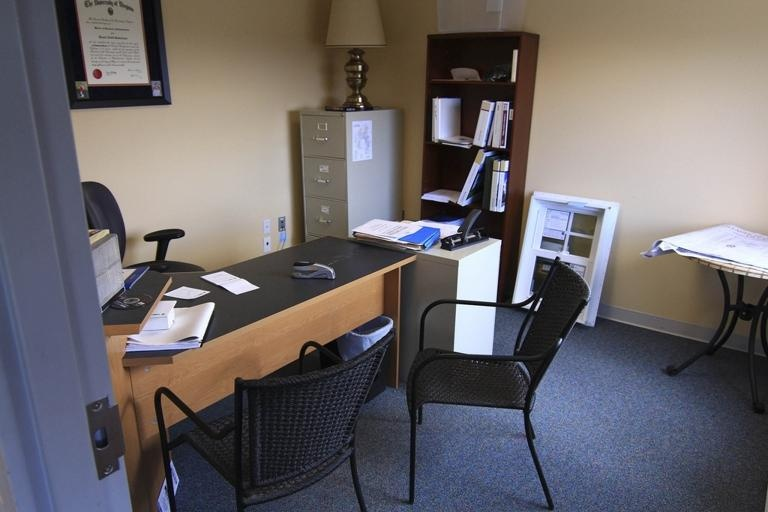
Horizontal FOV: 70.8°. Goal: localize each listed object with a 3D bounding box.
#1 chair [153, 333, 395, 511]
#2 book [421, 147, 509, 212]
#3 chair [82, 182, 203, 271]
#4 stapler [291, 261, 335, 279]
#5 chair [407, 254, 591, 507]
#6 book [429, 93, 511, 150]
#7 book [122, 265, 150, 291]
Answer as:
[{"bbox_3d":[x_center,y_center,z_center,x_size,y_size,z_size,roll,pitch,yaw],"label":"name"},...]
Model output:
[{"bbox_3d":[-0.466,0.695,2.193,0.536,0.714,0.537,-16,32,-34],"label":"chair"},{"bbox_3d":[0.643,-0.627,4.255,0.393,0.454,0.688,-14,23,-33],"label":"book"},{"bbox_3d":[-1.435,-0.203,3.233,0.449,0.660,0.468,-1,16,0],"label":"chair"},{"bbox_3d":[-0.344,0.075,2.708,0.266,0.098,0.079,1,22,4],"label":"stapler"},{"bbox_3d":[0.507,0.549,2.640,0.787,1.030,0.713,0,19,2],"label":"chair"},{"bbox_3d":[0.707,-1.043,4.189,0.656,0.357,0.372,11,22,32],"label":"book"},{"bbox_3d":[-0.961,0.080,2.097,0.065,0.033,0.242,-4,19,-10],"label":"book"}]
